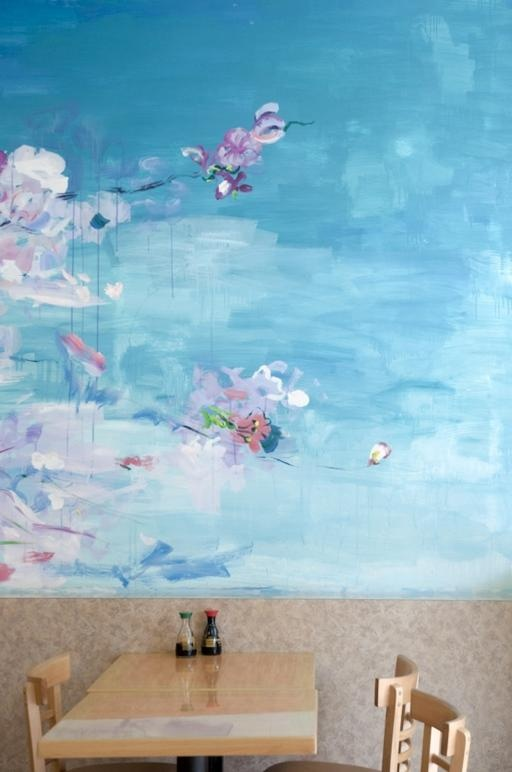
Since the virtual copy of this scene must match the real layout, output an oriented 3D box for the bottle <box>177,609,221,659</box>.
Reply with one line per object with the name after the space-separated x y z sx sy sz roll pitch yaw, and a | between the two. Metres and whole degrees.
-0.200 0.885 2.718 0.178 0.148 0.069 0 -11 -6 | bottle
